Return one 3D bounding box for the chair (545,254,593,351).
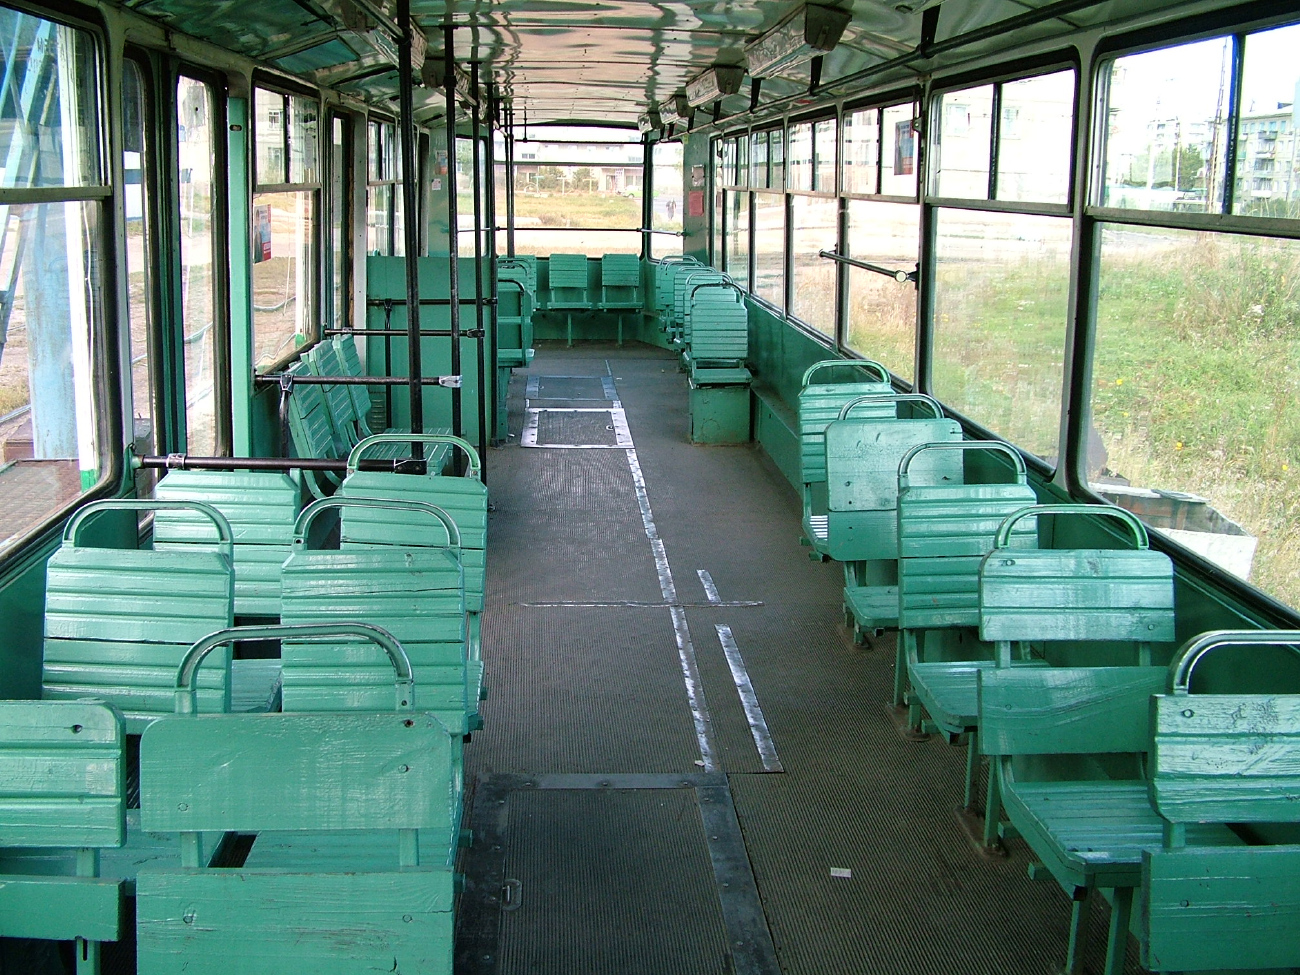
[{"bbox_3d":[-1.383,-3.166,18.474,0.800,1.472,0.512,-2,15,-10],"label":"chair"}]
